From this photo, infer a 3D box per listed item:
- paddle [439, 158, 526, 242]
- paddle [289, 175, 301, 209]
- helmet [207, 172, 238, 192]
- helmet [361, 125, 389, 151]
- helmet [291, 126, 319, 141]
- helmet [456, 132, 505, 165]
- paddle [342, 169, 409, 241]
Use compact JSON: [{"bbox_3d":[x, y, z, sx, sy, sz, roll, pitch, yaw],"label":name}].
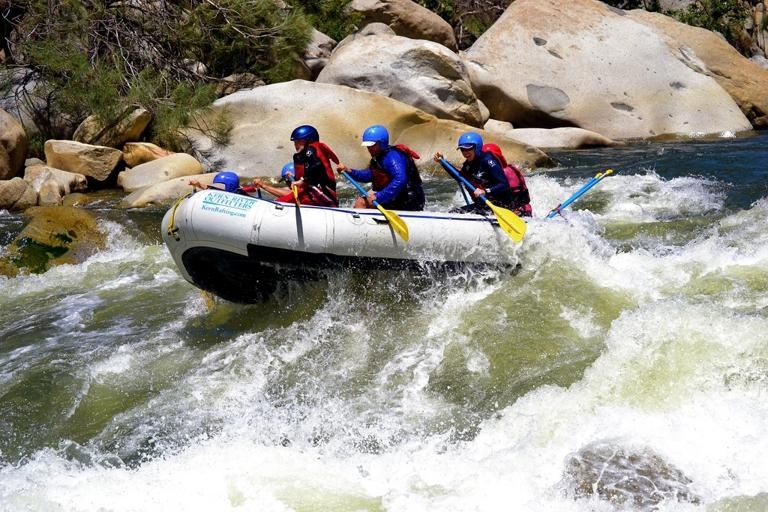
[{"bbox_3d":[1.250,-0.796,10.833,1.555,0.211,0.126,42,95,2],"label":"paddle"},{"bbox_3d":[-1.151,-0.822,10.516,0.179,0.123,1.056,-1,18,-9],"label":"paddle"},{"bbox_3d":[-2.101,-0.980,10.693,0.335,0.243,0.256,28,68,-24],"label":"helmet"},{"bbox_3d":[-0.108,-1.606,10.940,0.366,0.305,0.290,-18,22,-9],"label":"helmet"},{"bbox_3d":[-1.067,-1.670,10.943,0.335,0.216,0.351,-1,41,1],"label":"helmet"},{"bbox_3d":[1.359,-1.543,11.412,0.584,0.372,0.303,11,74,-20],"label":"helmet"},{"bbox_3d":[-0.074,-0.649,10.559,0.243,0.117,1.616,-46,71,9],"label":"paddle"}]
